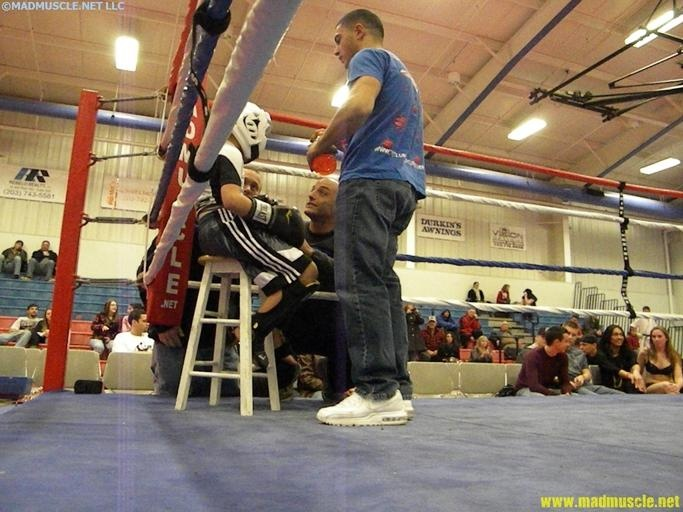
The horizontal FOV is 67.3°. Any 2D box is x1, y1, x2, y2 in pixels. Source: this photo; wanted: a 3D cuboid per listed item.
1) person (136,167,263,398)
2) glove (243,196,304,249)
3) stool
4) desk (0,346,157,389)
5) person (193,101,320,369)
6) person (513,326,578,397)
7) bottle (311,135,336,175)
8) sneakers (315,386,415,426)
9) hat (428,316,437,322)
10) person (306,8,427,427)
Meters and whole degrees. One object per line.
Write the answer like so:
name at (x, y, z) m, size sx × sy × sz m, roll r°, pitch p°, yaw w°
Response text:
person at (-0.703, 0.175, 2.783) m, size 0.703 × 1.203 × 0.563 m, roll 8°, pitch -15°, yaw -19°
glove at (-0.247, -0.141, 1.970) m, size 0.225 × 0.096 × 0.165 m, roll 30°, pitch 21°, yaw -15°
stool at (-0.532, 0.299, 1.990) m, size 0.426 × 0.567 × 0.419 m, roll 8°, pitch -8°, yaw -12°
desk at (-1.883, 0.819, 3.707) m, size 1.330 × 0.307 × 0.450 m, roll -5°, pitch -12°, yaw 27°
person at (-0.318, -0.162, 2.024) m, size 0.489 × 1.075 × 0.433 m, roll 3°, pitch -12°, yaw -16°
person at (1.760, 0.931, 4.316) m, size 0.504 × 0.682 × 0.528 m, roll 6°, pitch -1°, yaw 4°
bottle at (-0.071, -0.369, 1.920) m, size 0.100 × 0.052 × 0.096 m, roll -11°, pitch -11°, yaw -2°
sneakers at (0.077, 0.513, 1.750) m, size 0.322 × 0.135 × 0.112 m, roll 5°, pitch -16°, yaw -16°
hat at (1.671, 1.148, 9.372) m, size 0.142 × 0.069 × 0.213 m, roll 3°, pitch -4°, yaw 7°
person at (0.094, -0.214, 1.962) m, size 0.328 × 1.624 × 0.588 m, roll -7°, pitch -14°, yaw 30°
